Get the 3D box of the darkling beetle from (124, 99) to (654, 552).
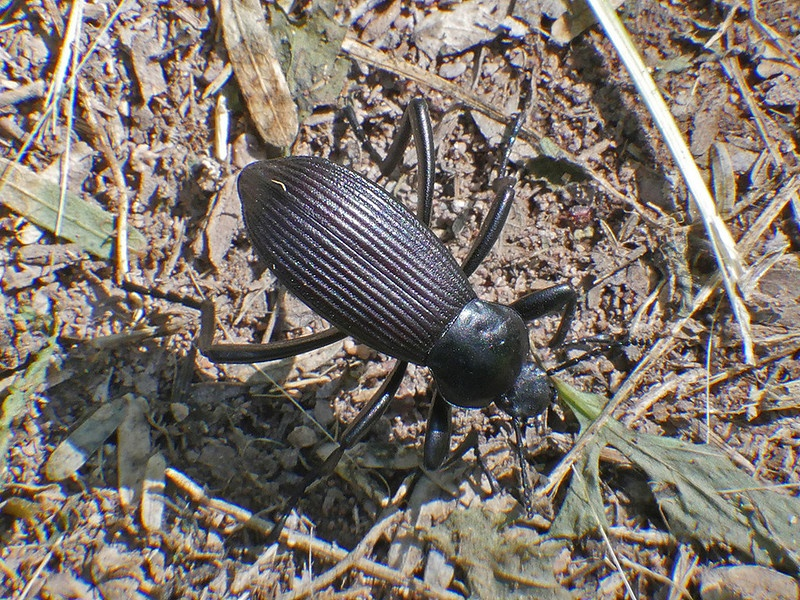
[{"bbox_3d":[-0.141,0.071,3.646,2.356,0.689,2.373,31,77,15],"label":"darkling beetle"}]
